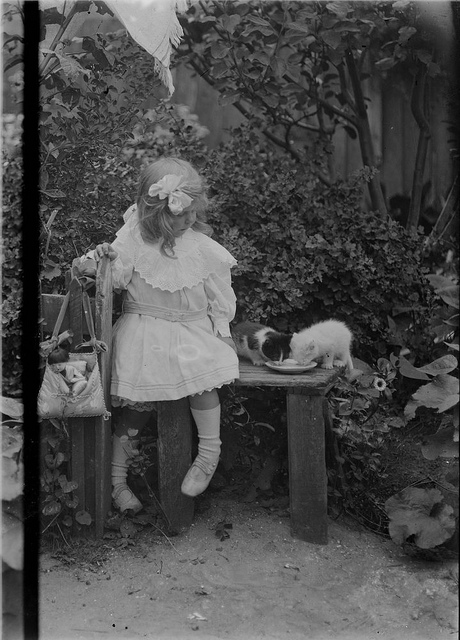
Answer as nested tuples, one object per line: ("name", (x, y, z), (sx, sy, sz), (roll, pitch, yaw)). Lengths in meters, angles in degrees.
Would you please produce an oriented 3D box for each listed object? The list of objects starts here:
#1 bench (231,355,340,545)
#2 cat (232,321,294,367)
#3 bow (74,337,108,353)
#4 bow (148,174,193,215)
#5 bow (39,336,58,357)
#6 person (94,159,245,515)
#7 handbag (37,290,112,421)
("bench", (0.258, 0.577, 3.075), (0.452, 0.746, 0.463), (-1, 3, 8))
("cat", (0.147, 0.125, 3.380), (0.199, 0.189, 0.370), (-9, 23, -36))
("bow", (-0.580, 0.101, 2.799), (0.113, 0.050, 0.065), (-4, 2, 10))
("bow", (-0.260, -0.549, 2.903), (0.184, 0.179, 0.132), (-2, 3, -7))
("bow", (-0.737, 0.109, 2.722), (0.054, 0.085, 0.034), (32, -26, -1))
("person", (-0.262, 0.060, 3.037), (0.598, 1.577, 0.436), (-1, 3, 0))
("handbag", (-0.619, 0.141, 2.733), (0.281, 0.471, 0.266), (13, 17, 35))
